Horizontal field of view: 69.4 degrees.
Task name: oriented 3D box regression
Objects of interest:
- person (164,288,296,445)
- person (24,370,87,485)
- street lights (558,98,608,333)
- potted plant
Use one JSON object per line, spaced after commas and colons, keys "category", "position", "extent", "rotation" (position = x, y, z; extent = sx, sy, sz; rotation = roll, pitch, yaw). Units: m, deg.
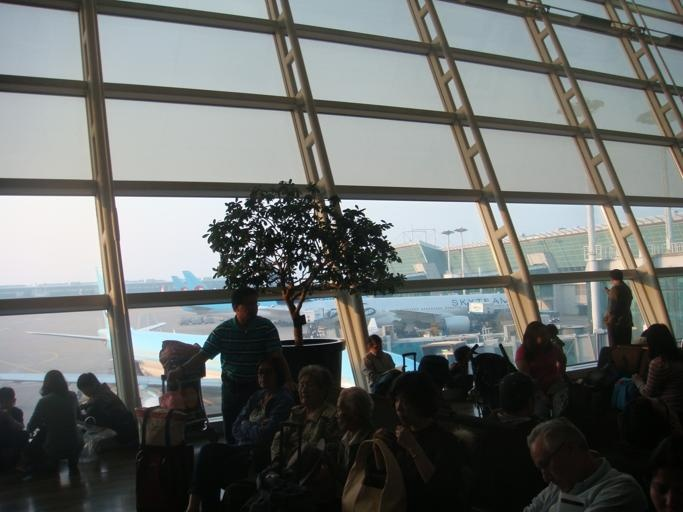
{"category": "person", "position": [-0.987, 0.993, 4.496], "extent": [0.872, 1.345, 0.423], "rotation": [-6, -9, -10]}
{"category": "person", "position": [-2.909, 1.704, 5.094], "extent": [0.613, 1.043, 0.328], "rotation": [-9, -9, 9]}
{"category": "street lights", "position": [4.449, -0.804, 9.007], "extent": [0.654, 4.371, 0.261], "rotation": [-5, -10, -16]}
{"category": "potted plant", "position": [-0.523, 0.519, 6.241], "extent": [2.694, 2.132, 1.848], "rotation": [0, -16, -9]}
